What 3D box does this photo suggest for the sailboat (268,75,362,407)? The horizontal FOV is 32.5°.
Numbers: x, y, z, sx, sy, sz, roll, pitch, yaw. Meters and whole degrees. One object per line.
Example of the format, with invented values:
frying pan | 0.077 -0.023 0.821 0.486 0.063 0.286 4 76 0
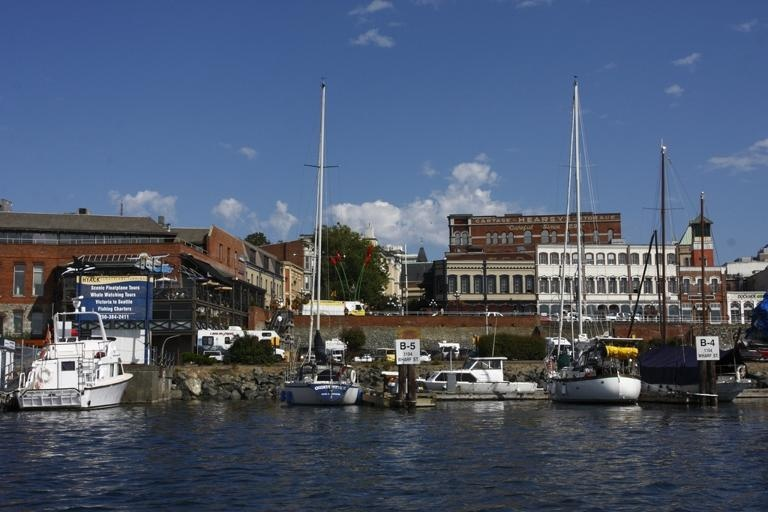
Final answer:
sailboat | -7.023 1.584 104.974 9.693 25.905 9.017 1 1 3
